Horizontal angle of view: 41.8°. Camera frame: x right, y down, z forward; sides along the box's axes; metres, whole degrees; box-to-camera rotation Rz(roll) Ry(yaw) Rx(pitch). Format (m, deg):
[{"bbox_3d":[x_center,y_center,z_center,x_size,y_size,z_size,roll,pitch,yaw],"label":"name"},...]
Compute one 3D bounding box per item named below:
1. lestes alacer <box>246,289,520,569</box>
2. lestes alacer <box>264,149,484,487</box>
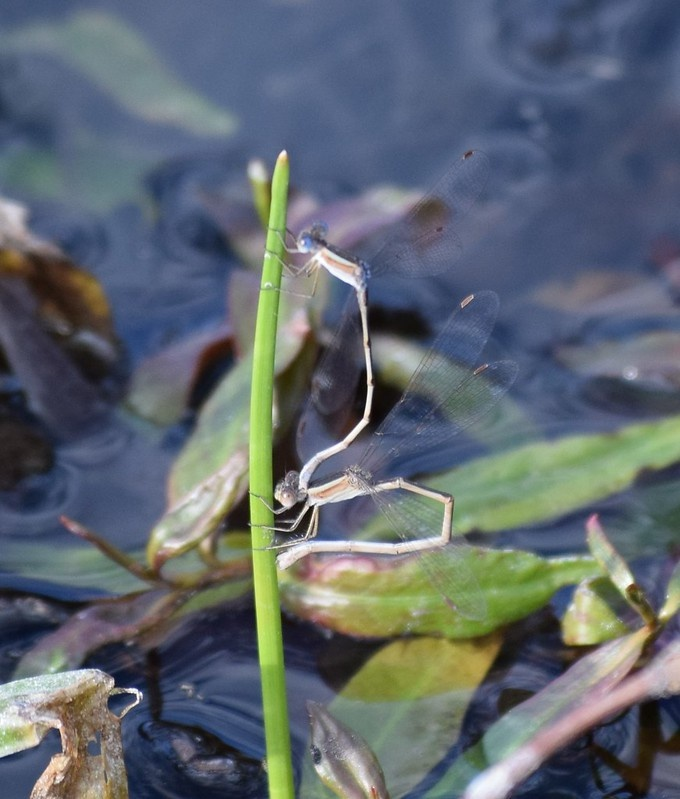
[{"bbox_3d":[0.068,0.043,0.742,0.235,0.134,0.258,-12,61,12],"label":"lestes alacer"},{"bbox_3d":[0.024,-0.068,0.714,0.274,0.198,0.054,-33,35,-27],"label":"lestes alacer"}]
